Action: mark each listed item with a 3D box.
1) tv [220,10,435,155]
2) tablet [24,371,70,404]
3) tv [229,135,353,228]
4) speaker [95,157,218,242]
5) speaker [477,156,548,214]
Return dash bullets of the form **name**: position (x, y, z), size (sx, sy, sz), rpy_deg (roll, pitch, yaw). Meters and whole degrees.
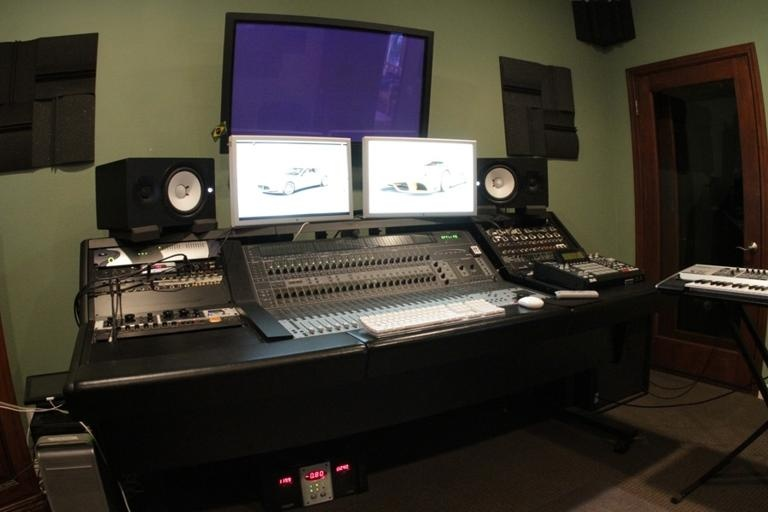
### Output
- **tv**: position (-0.329, -1.111, 3.679), size (1.374, 0.770, 0.115), rpy_deg (-8, 12, -20)
- **tablet**: position (-1.843, 0.711, 3.201), size (0.189, 0.074, 0.359), rpy_deg (-9, 14, -24)
- **tv**: position (-0.547, -0.427, 3.323), size (0.542, 0.357, 0.053), rpy_deg (-3, 8, -20)
- **speaker**: position (-1.247, -0.336, 3.219), size (0.518, 0.378, 0.505), rpy_deg (4, 6, 44)
- **speaker**: position (0.830, -0.470, 3.813), size (0.582, 0.380, 0.311), rpy_deg (0, 1, -1)
